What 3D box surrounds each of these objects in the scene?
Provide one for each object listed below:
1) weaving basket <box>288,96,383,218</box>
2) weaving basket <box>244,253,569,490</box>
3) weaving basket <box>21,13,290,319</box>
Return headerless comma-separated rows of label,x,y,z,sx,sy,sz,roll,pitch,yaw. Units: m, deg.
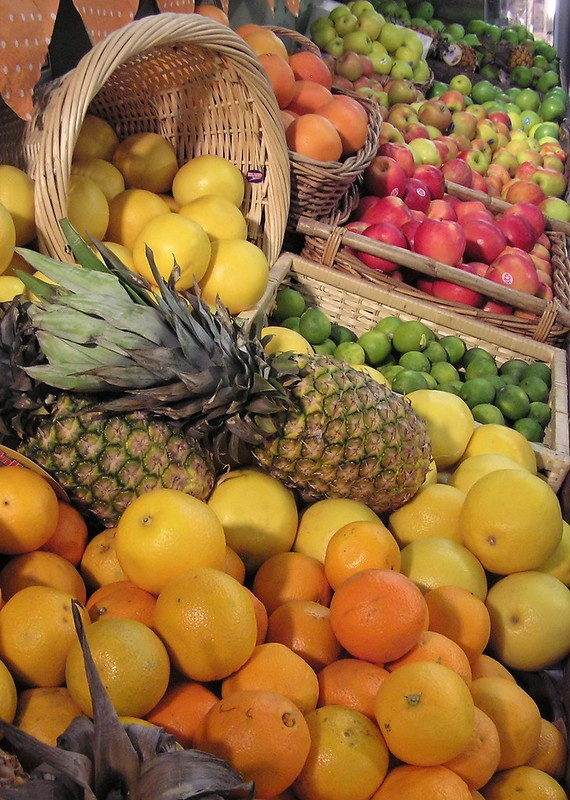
weaving basket,0.092,-0.993,2.966,0.509,0.190,0.435,-15,31,-6
weaving basket,0.375,-0.078,2.867,1.043,0.244,0.998,22,28,-7
weaving basket,-0.591,-0.726,2.166,0.620,0.820,0.774,17,0,24
